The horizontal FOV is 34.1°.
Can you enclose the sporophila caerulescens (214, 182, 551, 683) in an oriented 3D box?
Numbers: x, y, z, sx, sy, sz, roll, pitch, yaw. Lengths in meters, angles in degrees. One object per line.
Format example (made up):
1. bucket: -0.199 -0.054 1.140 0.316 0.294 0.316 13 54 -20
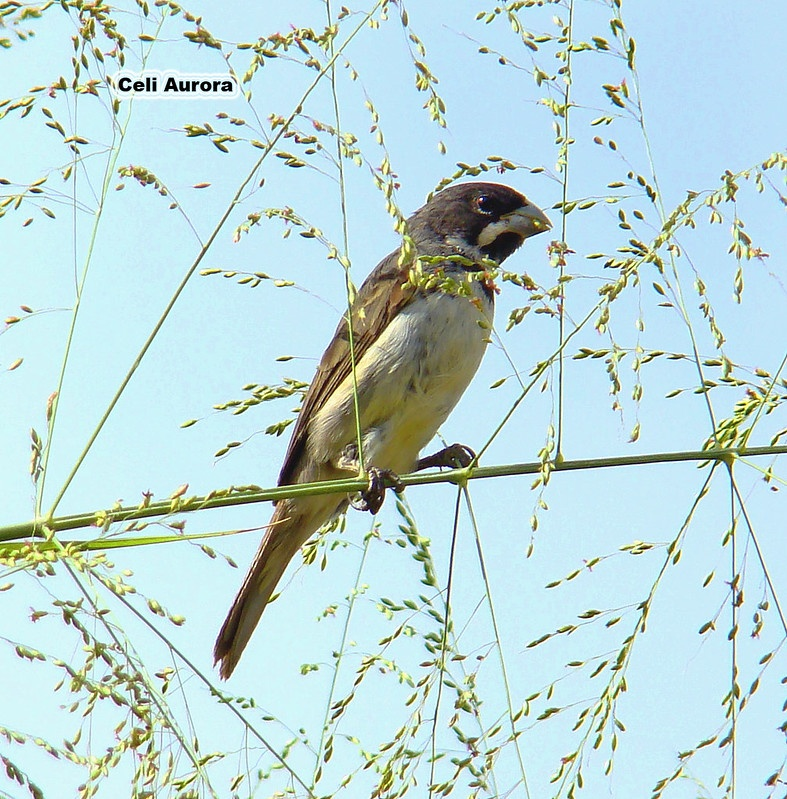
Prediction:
1. sporophila caerulescens: -0.107 0.093 5.435 1.452 1.887 0.539 -12 -27 27
